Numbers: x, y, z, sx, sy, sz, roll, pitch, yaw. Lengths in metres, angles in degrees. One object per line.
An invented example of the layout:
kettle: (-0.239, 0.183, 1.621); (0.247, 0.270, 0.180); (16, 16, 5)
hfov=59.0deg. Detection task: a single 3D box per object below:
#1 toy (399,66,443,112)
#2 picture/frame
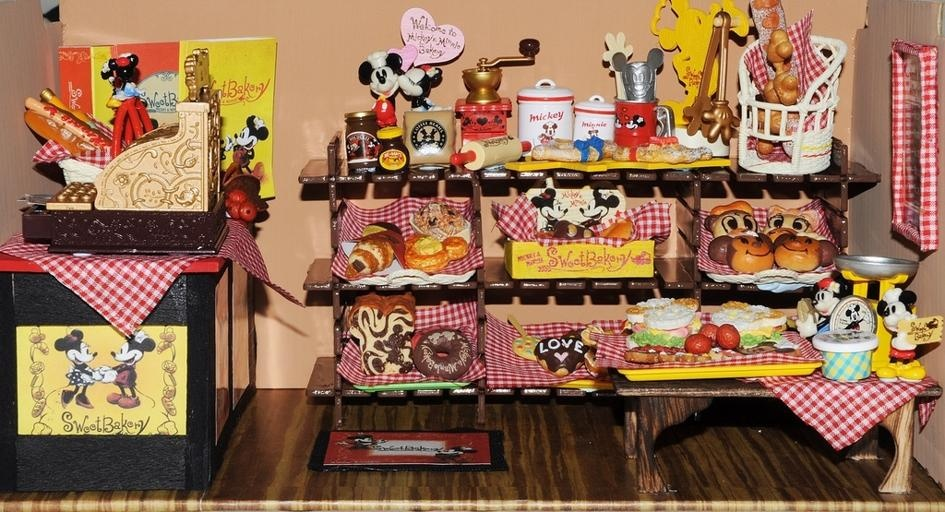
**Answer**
toy: (-0.379, -1.226, 6.051); (0.246, 0.284, 0.281); (1, 22, 20)
picture/frame: (2.872, -0.702, 5.424); (0.287, 1.321, 0.641); (1, 23, 22)
